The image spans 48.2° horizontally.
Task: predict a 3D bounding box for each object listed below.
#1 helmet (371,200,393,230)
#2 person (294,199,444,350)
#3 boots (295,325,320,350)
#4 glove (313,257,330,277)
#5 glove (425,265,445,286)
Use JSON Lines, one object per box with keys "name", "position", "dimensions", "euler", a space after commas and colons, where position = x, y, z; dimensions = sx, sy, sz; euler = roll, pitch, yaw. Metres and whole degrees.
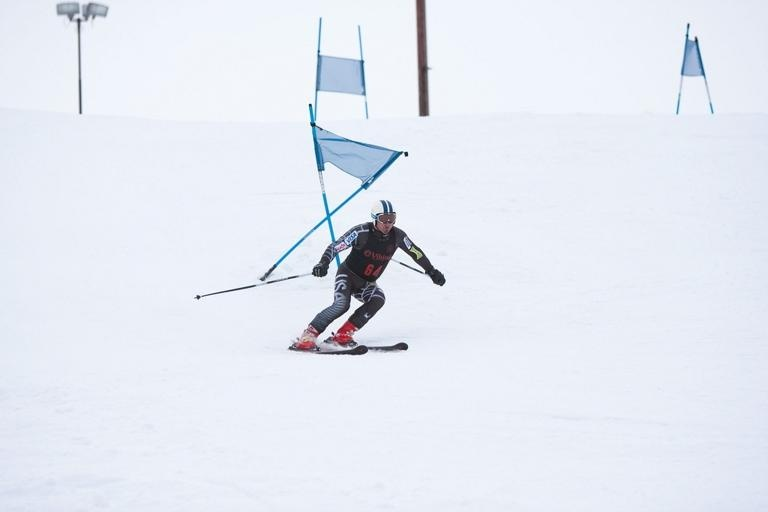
{"name": "helmet", "position": [0.004, -0.560, 11.881], "dimensions": [0.298, 0.401, 0.388], "euler": [0, 5, -17]}
{"name": "person", "position": [-0.229, 0.368, 13.111], "dimensions": [0.940, 1.825, 1.590], "euler": [13, -16, 48]}
{"name": "boots", "position": [-1.049, 1.131, 11.764], "dimensions": [0.383, 0.383, 0.230], "euler": [7, -6, 9]}
{"name": "glove", "position": [-0.874, 0.141, 11.855], "dimensions": [0.224, 0.340, 0.353], "euler": [5, -18, -4]}
{"name": "glove", "position": [0.793, 0.307, 12.261], "dimensions": [0.205, 0.102, 0.283], "euler": [26, -20, 30]}
